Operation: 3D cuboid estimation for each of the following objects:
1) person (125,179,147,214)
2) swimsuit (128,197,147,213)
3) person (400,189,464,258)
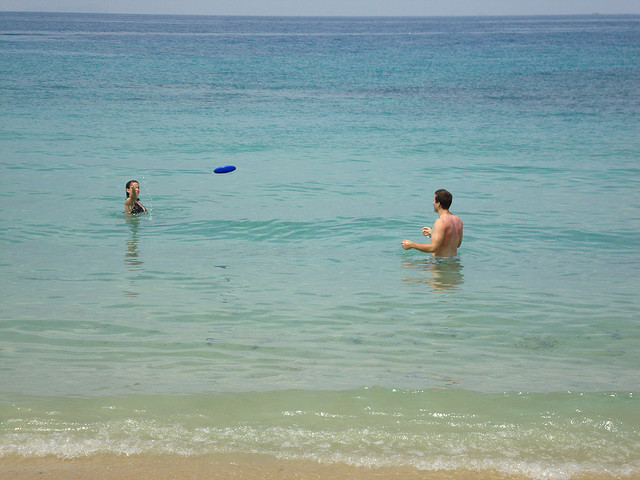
[{"bbox_3d":[-5.579,-1.327,32.109,0.603,1.006,1.027,0,12,-9],"label":"person"},{"bbox_3d":[-5.576,-0.978,32.274,0.316,0.337,0.136,-31,34,-5],"label":"swimsuit"},{"bbox_3d":[3.024,-0.404,27.384,0.658,1.752,1.095,14,18,39],"label":"person"}]
